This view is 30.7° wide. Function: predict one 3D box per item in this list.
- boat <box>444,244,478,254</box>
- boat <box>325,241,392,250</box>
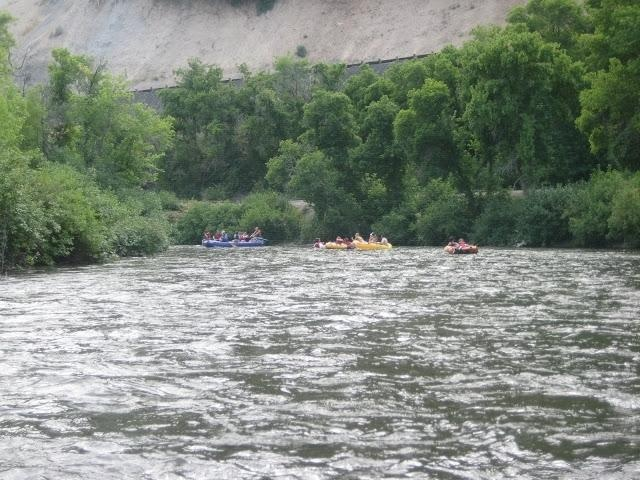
[{"bbox_3d":[9.300,0.616,78.025,1.088,0.584,2.341,0,-1,-32],"label":"boat"},{"bbox_3d":[2.603,0.472,85.623,2.770,0.437,1.642,0,-5,20],"label":"boat"}]
